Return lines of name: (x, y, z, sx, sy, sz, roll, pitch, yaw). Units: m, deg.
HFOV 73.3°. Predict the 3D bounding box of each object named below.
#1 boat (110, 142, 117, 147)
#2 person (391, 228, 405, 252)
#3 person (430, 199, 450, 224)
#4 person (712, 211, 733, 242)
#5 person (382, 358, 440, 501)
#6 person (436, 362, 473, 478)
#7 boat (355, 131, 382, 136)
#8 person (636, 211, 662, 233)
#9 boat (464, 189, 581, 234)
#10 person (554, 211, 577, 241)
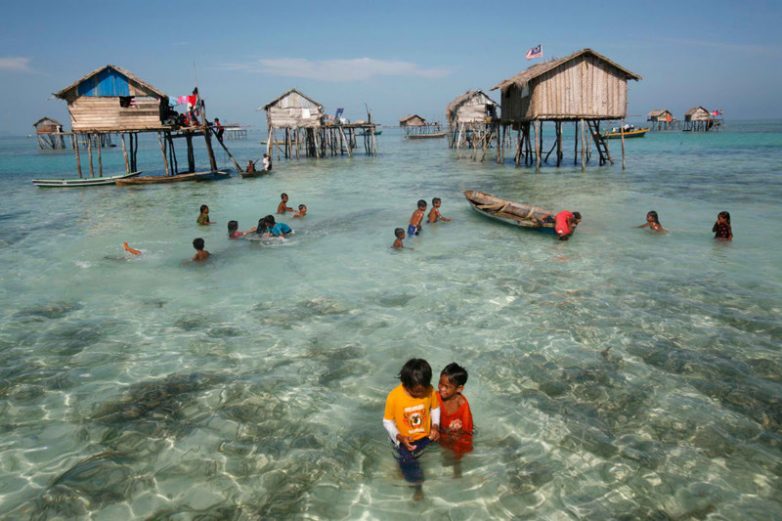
boat: (-44.866, -18.640, 85.173, 0.735, 0.692, 10.192, -11, 15, -24)
person: (0.221, -0.625, 16.663, 0.409, 0.699, 0.503, -18, 42, -27)
person: (1.876, -1.860, 20.349, 0.840, 1.377, 0.541, -14, 54, -2)
person: (10.368, -1.080, 16.456, 0.487, 0.883, 0.605, 4, 17, 31)
person: (0.327, 2.527, 8.234, 0.886, 2.142, 0.572, -4, 15, 2)
person: (1.027, 2.473, 8.487, 0.549, 1.782, 0.419, -4, 15, 2)
boat: (-2.664, -16.013, 66.546, 2.142, 0.637, 19.189, -5, 13, -3)
person: (8.817, -1.295, 17.790, 0.842, 0.373, 0.983, 1, 18, 9)
boat: (4.309, -1.691, 18.868, 1.411, 0.882, 5.193, -34, 31, -21)
person: (5.552, -1.108, 16.721, 0.745, 0.848, 0.689, 0, 15, 19)
